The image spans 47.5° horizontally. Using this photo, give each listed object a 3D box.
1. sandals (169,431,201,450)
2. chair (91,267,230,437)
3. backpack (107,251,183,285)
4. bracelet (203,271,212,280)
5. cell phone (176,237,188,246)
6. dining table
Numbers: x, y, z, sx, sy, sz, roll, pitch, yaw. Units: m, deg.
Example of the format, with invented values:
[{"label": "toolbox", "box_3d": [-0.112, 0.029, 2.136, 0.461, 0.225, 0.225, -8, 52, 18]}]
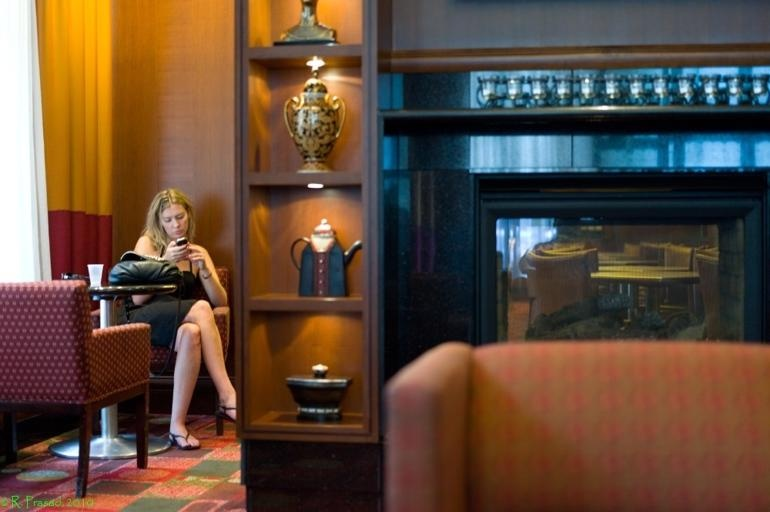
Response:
[{"label": "sandals", "box_3d": [-1.134, 1.049, 4.968, 0.086, 0.052, 0.163, 3, -5, -43]}, {"label": "chair", "box_3d": [-1.272, 0.517, 4.947, 0.850, 1.151, 0.920, -1, -12, 1]}, {"label": "backpack", "box_3d": [-1.300, 0.076, 4.731, 0.275, 0.114, 0.197, 3, -5, -9]}, {"label": "bracelet", "box_3d": [-1.057, 0.113, 5.202, 0.046, 0.043, 0.012, 0, 25, -10]}, {"label": "cell phone", "box_3d": [-1.143, -0.086, 4.960, 0.054, 0.047, 0.094, 10, 4, -2]}, {"label": "dining table", "box_3d": [-1.357, 0.644, 5.151, 0.895, 0.995, 0.893, 1, 0, -41]}]
